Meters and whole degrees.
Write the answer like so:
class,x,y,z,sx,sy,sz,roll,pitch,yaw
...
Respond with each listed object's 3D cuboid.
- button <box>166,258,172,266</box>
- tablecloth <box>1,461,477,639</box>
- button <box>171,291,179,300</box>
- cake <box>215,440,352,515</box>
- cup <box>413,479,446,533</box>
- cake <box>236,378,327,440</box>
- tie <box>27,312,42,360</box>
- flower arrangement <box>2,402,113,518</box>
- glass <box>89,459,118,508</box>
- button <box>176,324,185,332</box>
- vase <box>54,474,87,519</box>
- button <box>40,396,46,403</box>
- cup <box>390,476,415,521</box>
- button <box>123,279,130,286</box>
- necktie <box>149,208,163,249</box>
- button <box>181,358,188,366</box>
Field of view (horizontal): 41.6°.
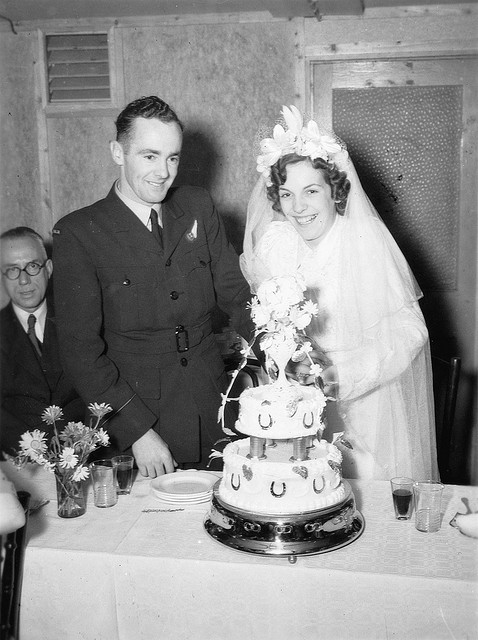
class,x,y,z,sx,sy,sz,roll,pitch,yaw
button,-0.244,-0.199,2.179,0.007,0.023,0.026,3,11,28
tablecloth,-0.012,0.578,1.527,1.127,0.215,0.451,0,9,11
button,-0.223,-0.084,2.152,0.021,0.027,0.016,-3,10,-2
cake,0.106,0.383,1.530,0.321,0.102,0.305,2,-6,-30
cup,0.441,0.444,1.534,0.099,0.124,0.105,1,0,0
cake,0.094,0.211,1.490,0.205,0.176,0.243,-2,9,-2
tie,-0.907,0.066,2.771,0.046,0.254,0.030,7,-40,-24
flower arrangement,-0.460,0.356,1.737,0.277,0.317,0.293,-2,1,-44
glass,-0.360,0.451,1.701,0.084,0.099,0.072,5,-10,-35
button,-0.206,0.028,2.171,0.020,0.010,0.025,11,42,-13
vase,-0.446,0.460,1.667,0.094,0.128,0.083,-8,-17,-10
button,-0.834,0.336,2.659,0.017,0.022,0.006,6,-20,-4
cup,0.409,0.446,1.570,0.066,0.094,0.063,-3,0,0
button,-0.377,-0.124,2.091,0.022,0.021,0.010,-5,10,-14
necktie,-0.289,-0.322,2.192,0.041,0.132,0.040,-4,10,-8
button,-0.190,0.145,2.181,0.028,0.027,0.010,-10,12,-39
